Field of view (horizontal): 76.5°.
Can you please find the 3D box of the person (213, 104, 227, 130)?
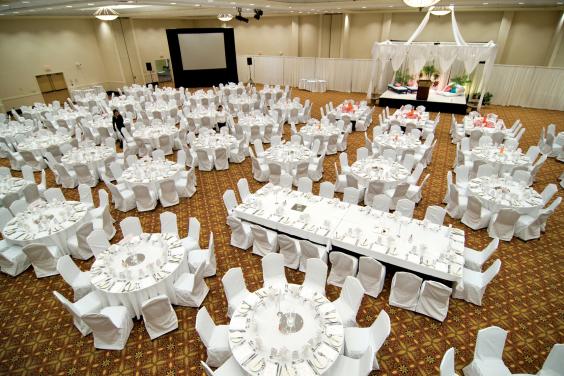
[{"bbox_3d":[-3.034,-3.365,18.003,0.776,1.693,0.386,-12,39,-24],"label":"person"}]
